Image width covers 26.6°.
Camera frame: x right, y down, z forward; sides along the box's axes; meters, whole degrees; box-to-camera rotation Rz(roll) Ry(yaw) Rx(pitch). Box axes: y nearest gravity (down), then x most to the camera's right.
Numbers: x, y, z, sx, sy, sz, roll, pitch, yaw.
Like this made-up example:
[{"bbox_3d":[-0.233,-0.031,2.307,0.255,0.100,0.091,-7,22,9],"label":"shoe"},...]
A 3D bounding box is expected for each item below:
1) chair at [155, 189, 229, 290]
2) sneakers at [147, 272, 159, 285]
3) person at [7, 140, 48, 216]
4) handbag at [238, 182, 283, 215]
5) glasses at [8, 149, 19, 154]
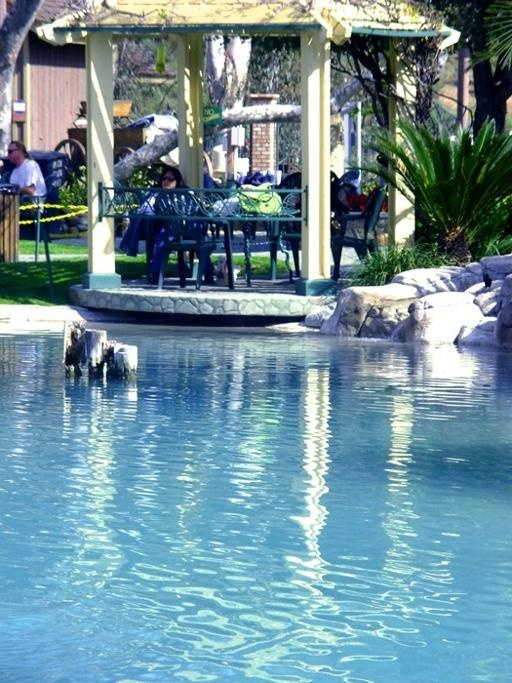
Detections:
[{"bbox_3d":[-0.866,-1.225,12.602,0.575,1.134,0.685,-1,12,-12],"label":"chair"},{"bbox_3d":[-1.266,-0.781,13.393,0.140,0.175,0.145,-1,7,-21],"label":"sneakers"},{"bbox_3d":[-4.118,-3.087,19.527,0.649,1.195,2.807,-1,6,-13],"label":"person"},{"bbox_3d":[0.058,-1.649,12.337,0.345,0.396,0.159,-3,-4,-9],"label":"handbag"},{"bbox_3d":[-4.428,-3.537,19.840,0.160,0.056,0.159,6,-3,-22],"label":"glasses"}]
